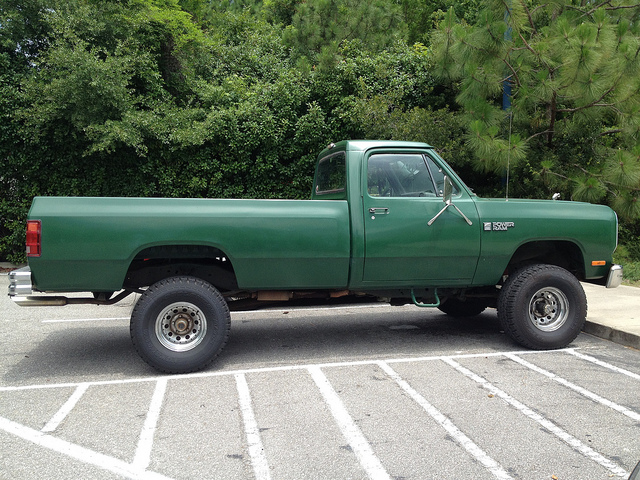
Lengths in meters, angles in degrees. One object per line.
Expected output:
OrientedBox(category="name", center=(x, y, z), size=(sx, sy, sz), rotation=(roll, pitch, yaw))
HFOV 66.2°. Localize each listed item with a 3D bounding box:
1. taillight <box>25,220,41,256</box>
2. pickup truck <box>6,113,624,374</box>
OrientedBox(category="taillight", center=(-3.236, -0.021, 5.521), size=(0.168, 0.405, 0.056), rotation=(-2, 7, -9))
OrientedBox(category="pickup truck", center=(-0.156, 0.136, 7.413), size=(8.479, 2.850, 3.357), rotation=(-1, 3, -12))
